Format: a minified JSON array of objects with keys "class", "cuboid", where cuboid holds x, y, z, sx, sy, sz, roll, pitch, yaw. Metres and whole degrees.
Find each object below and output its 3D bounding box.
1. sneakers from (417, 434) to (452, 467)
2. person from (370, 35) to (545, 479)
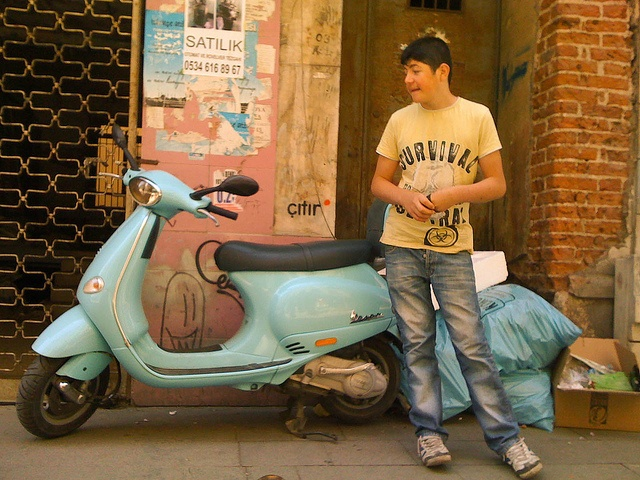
[{"class":"sneakers","cuboid":[0.805,1.456,5.127,0.210,0.211,0.473,-8,-5,0]},{"class":"person","cuboid":[0.868,0.075,5.074,0.805,2.890,1.276,-4,16,-19]}]
